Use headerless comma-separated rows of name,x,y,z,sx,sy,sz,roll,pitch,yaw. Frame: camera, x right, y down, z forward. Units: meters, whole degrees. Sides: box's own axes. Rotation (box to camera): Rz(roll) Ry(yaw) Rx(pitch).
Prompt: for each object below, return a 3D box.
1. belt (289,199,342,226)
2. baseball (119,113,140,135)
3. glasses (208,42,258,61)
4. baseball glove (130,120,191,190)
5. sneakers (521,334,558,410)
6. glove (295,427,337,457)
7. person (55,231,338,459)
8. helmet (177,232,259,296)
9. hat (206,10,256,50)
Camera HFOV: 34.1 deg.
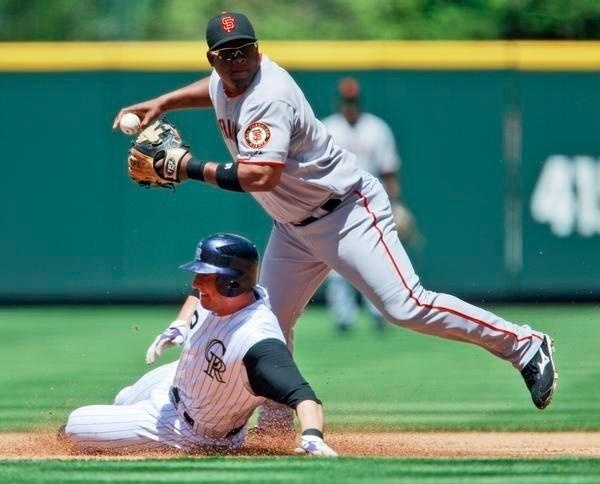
belt,0.095,-0.173,5.206,0.182,0.048,0.144,-37,0,13
baseball,-0.942,-0.656,5.448,0.120,0.128,0.115,-5,-19,-5
glasses,-0.350,-0.987,5.017,0.250,0.109,0.085,0,8,-6
baseball glove,-0.738,-0.460,5.083,0.306,0.330,0.142,6,9,33
sneakers,1.301,0.743,5.469,0.256,0.455,0.157,9,-25,-9
glove,0.093,0.963,4.702,0.143,0.051,0.161,14,7,33
person,-0.466,0.683,5.109,1.131,0.813,1.481,17,12,4
helmet,-0.417,0.100,5.066,0.424,0.298,0.322,2,11,-11
hat,-0.373,-1.105,5.106,0.285,0.198,0.355,-14,7,-1
